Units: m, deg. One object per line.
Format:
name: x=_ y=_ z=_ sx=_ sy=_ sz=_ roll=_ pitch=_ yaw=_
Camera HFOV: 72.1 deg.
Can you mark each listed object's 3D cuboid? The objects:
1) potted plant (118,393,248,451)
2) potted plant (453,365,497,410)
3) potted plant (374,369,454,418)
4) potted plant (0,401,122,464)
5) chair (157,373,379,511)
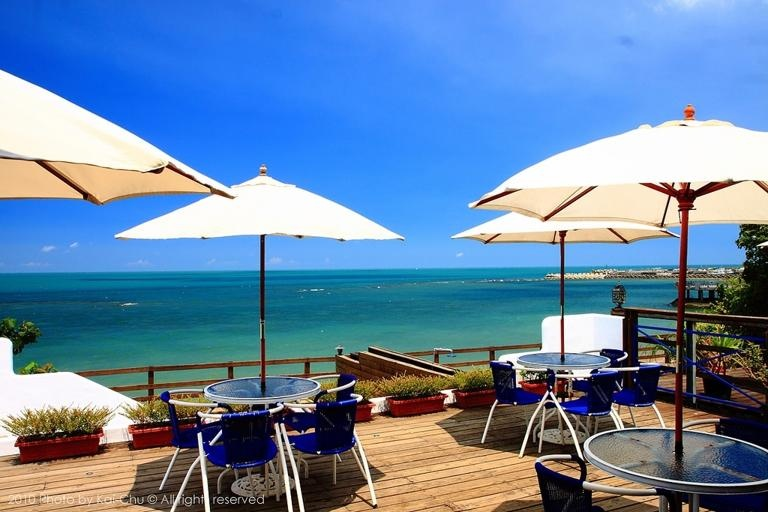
potted plant: x=-2.778 y=2.505 z=7.219 sx=1.550 sy=0.817 sz=1.464 roll=-1 pitch=1 yaw=-21
potted plant: x=1.880 y=2.386 z=9.411 sx=1.006 sy=0.578 sz=0.611 roll=-11 pitch=-19 yaw=43
potted plant: x=0.385 y=2.352 z=9.232 sx=1.099 sy=0.453 sz=0.675 roll=2 pitch=-15 yaw=-23
potted plant: x=-4.670 y=2.500 z=7.548 sx=1.221 sy=0.494 sz=0.822 roll=2 pitch=-10 yaw=-22
chair: x=-1.537 y=1.926 z=6.407 sx=2.049 sy=0.935 sz=1.723 roll=1 pitch=-1 yaw=-28
